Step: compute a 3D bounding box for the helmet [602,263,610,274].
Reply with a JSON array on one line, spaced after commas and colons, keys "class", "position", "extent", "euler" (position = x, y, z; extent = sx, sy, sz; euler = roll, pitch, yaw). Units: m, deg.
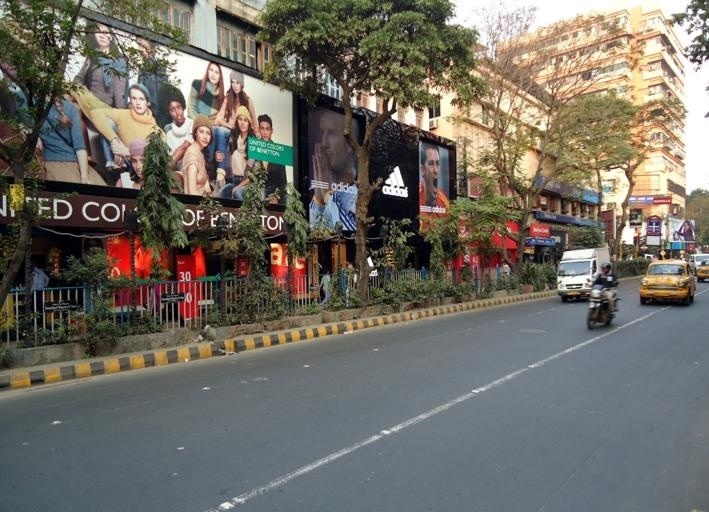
[{"class": "helmet", "position": [7.867, 0.378, 20.202], "extent": [0.254, 0.379, 0.351], "euler": [-4, -4, 35]}]

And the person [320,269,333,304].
[{"class": "person", "position": [-0.935, 1.117, 22.204], "extent": [0.340, 0.983, 0.779], "euler": [1, 10, 8]}]

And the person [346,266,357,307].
[{"class": "person", "position": [-0.088, 1.081, 22.790], "extent": [0.362, 1.178, 0.957], "euler": [0, 10, 2]}]

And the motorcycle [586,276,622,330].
[{"class": "motorcycle", "position": [7.333, 1.408, 19.604], "extent": [0.811, 1.356, 1.826], "euler": [-3, -6, 34]}]

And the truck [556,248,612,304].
[{"class": "truck", "position": [10.563, 0.818, 29.979], "extent": [1.503, 2.242, 3.425], "euler": [-4, -7, 34]}]
